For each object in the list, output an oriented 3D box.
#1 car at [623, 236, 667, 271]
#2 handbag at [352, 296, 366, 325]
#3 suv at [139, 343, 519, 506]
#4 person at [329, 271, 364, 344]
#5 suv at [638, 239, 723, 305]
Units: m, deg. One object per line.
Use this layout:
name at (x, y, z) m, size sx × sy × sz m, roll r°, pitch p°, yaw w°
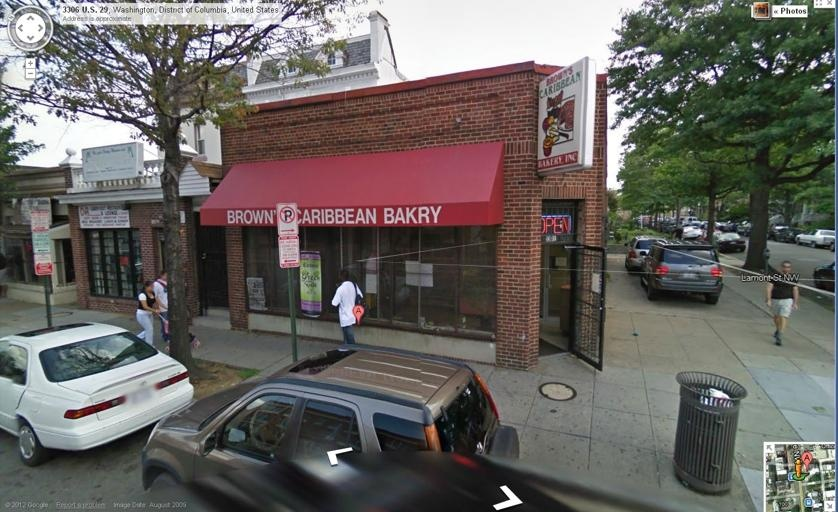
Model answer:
car at (10.484, -0.080, 25.835) m, size 1.457 × 1.151 × 2.788 m, roll 1°, pitch 12°, yaw 11°
handbag at (-1.641, 1.516, 15.445) m, size 0.513 × 0.694 × 0.168 m, roll 6°, pitch -5°, yaw 18°
suv at (-1.932, 3.251, 11.644) m, size 6.184 × 2.834 × 3.345 m, roll 3°, pitch 4°, yaw 20°
person at (-1.993, 1.466, 15.674) m, size 0.763 × 2.208 × 1.096 m, roll -2°, pitch 6°, yaw -6°
suv at (8.874, 0.495, 18.824) m, size 1.491 × 1.226 × 2.867 m, roll 1°, pitch 11°, yaw 12°
